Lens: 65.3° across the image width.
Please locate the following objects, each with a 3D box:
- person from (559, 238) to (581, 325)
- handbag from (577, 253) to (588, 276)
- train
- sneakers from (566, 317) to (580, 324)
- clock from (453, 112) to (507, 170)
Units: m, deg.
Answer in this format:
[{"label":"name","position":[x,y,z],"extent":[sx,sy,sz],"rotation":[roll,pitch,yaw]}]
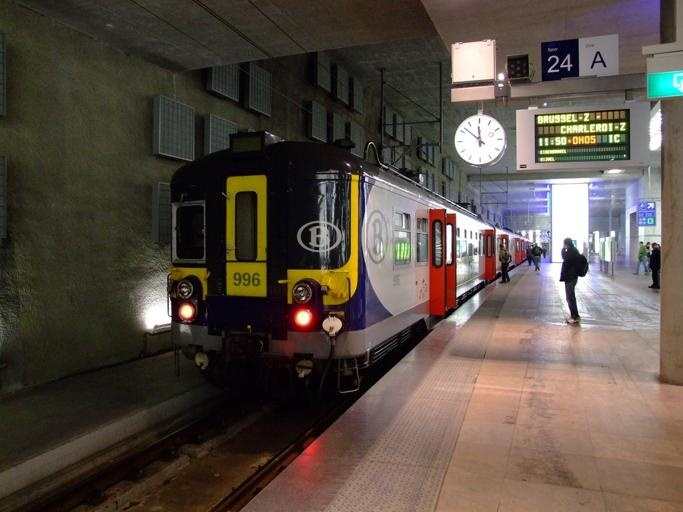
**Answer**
[{"label":"person","position":[4.901,0.499,11.412],"extent":[0.381,1.908,1.374],"rotation":[1,7,24]},{"label":"handbag","position":[4.947,0.186,10.945],"extent":[0.156,0.478,0.428],"rotation":[3,8,32]},{"label":"train","position":[0.355,-0.072,8.969],"extent":[2.194,3.762,6.003],"rotation":[3,9,37]},{"label":"sneakers","position":[5.026,1.376,11.550],"extent":[0.268,0.146,0.120],"rotation":[5,-8,-29]},{"label":"clock","position":[2.510,-2.063,9.692],"extent":[0.813,1.112,0.183],"rotation":[-2,-26,15]}]
